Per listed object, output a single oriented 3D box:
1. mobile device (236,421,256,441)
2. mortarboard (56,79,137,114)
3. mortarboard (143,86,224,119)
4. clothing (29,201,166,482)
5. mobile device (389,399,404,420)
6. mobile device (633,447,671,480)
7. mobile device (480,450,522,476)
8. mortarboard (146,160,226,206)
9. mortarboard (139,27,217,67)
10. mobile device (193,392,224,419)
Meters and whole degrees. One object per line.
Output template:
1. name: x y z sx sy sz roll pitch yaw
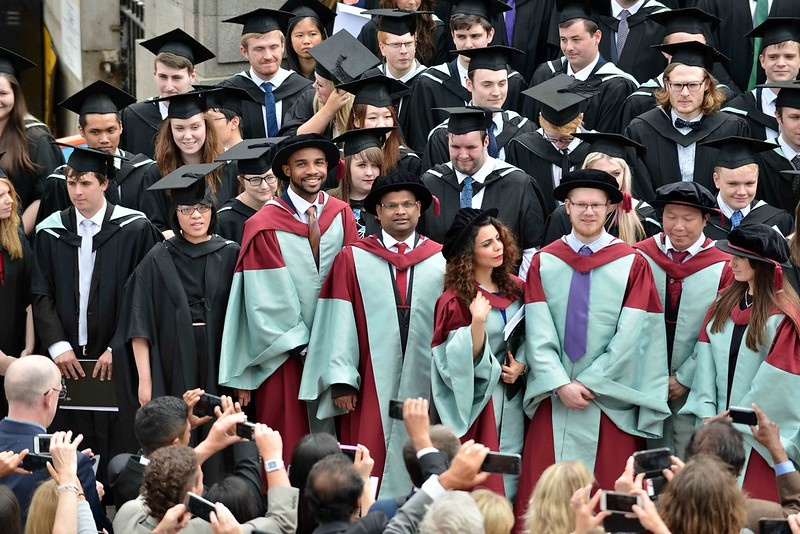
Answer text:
1. mobile device: -1.071 1.144 7.194 0.091 0.115 0.195 10 -11 -44
2. mortarboard: -3.087 -1.721 10.499 0.505 0.178 0.517 -3 5 6
3. mortarboard: -2.230 -1.590 10.221 0.615 0.172 0.585 -15 -3 33
4. clothing: -2.719 0.860 9.606 1.383 2.794 0.916 -2 8 22
5. mobile device: -0.020 1.010 7.204 0.150 0.136 0.036 9 7 23
6. mobile device: 1.715 1.319 6.898 0.276 0.201 0.195 2 -8 -2
7. mobile device: 0.660 1.289 6.763 0.250 0.133 0.145 2 -8 2
8. mortarboard: -1.878 -0.754 9.164 0.527 0.459 0.406 9 -11 -41
9. mortarboard: -2.448 -2.394 11.286 0.745 0.372 0.401 4 -8 -15
10. mobile device: -1.477 1.079 7.725 0.220 0.198 0.053 6 26 14
